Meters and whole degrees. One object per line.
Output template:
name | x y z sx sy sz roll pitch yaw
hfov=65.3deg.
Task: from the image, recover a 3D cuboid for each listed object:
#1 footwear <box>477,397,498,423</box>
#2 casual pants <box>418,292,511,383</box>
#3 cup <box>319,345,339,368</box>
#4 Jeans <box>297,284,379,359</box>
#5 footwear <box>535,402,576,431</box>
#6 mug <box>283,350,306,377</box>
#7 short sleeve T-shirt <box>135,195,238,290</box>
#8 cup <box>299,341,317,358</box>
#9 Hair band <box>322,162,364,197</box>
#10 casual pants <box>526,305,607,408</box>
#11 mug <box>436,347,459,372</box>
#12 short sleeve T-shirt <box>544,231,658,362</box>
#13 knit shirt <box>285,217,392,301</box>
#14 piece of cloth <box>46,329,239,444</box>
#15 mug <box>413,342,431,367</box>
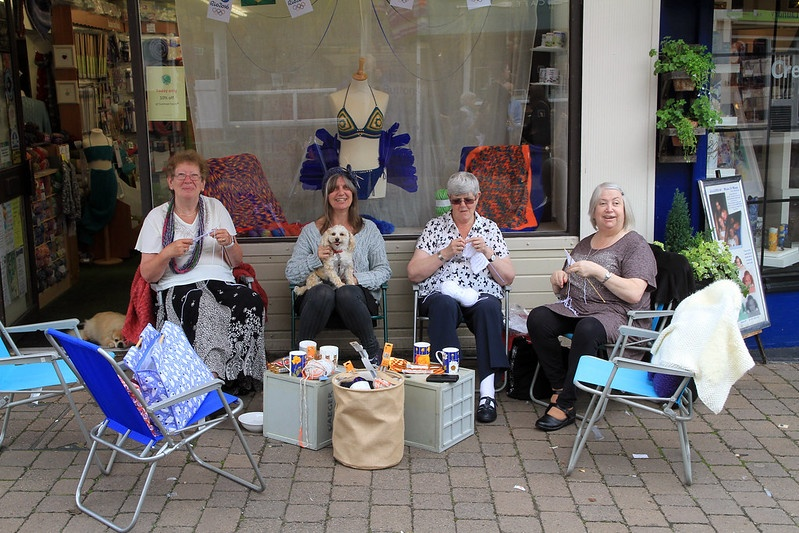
footwear | 0.638 1.045 4.578 0.141 0.151 0.173 0 17 7
casual pants | 0.543 0.585 4.914 0.678 0.776 0.639 0 -26 4
cup | -0.468 0.600 4.249 0.142 0.151 0.145 2 14 0
Jeans | -0.462 0.420 4.885 0.612 0.598 0.360 -4 17 -3
footwear | 1.113 1.073 4.504 0.315 0.133 0.137 -4 5 -28
mug | -0.668 0.636 4.172 0.119 0.151 0.153 0 17 9
short sleeve T-shirt | -1.669 -0.199 4.955 0.810 0.668 0.436 -9 14 -39
cup | -0.604 0.554 4.253 0.116 0.109 0.106 3 7 0
Hair band | -0.525 -0.799 5.644 0.293 0.177 0.344 -1 9 4
casual pants | 1.190 0.663 4.776 0.663 0.783 0.684 -2 3 -4
mug | 0.311 0.625 4.275 0.182 0.161 0.111 0 5 18
short sleeve T-shirt | 1.515 0.190 4.817 0.799 1.009 0.872 0 6 -30
knit shirt | -0.412 -0.053 5.306 1.025 0.928 0.574 2 -11 -4
piece of cloth | -1.470 0.684 3.730 0.625 0.621 0.957 9 7 34
mug | 0.154 0.601 4.304 0.104 0.145 0.155 -3 16 0
